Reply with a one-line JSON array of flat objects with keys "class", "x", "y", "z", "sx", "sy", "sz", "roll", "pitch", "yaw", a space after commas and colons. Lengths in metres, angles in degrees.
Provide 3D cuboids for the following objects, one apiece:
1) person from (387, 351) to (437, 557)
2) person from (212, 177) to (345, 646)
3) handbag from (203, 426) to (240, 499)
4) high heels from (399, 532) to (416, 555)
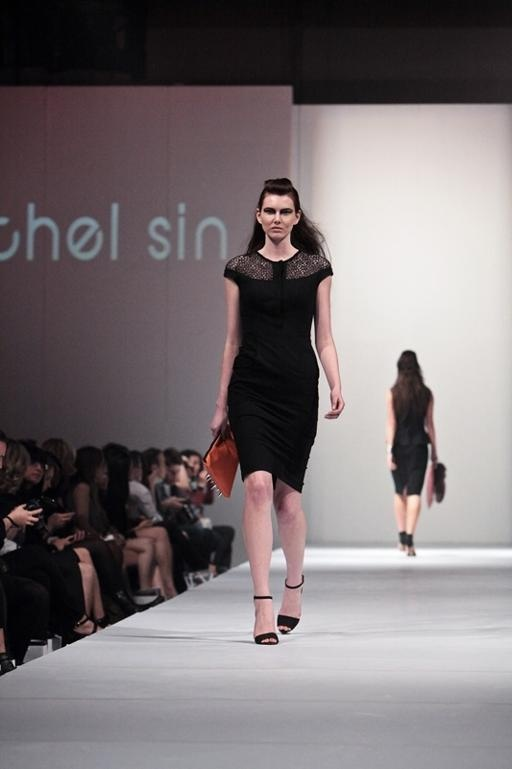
[{"class": "person", "x": 1.127, "y": 0.469, "z": 6.166, "sx": 0.337, "sy": 1.432, "sz": 1.291, "roll": 0, "pitch": 1, "yaw": 12}, {"class": "person", "x": 0.075, "y": 0.050, "z": 2.199, "sx": 0.345, "sy": 1.229, "sz": 0.389, "roll": 0, "pitch": 1, "yaw": -11}, {"class": "handbag", "x": -0.093, "y": 0.220, "z": 2.365, "sx": 0.062, "sy": 0.175, "sz": 0.149, "roll": 4, "pitch": -28, "yaw": 12}, {"class": "high heels", "x": 1.032, "y": 1.094, "z": 5.773, "sx": 0.071, "sy": 0.098, "sz": 0.233, "roll": -3, "pitch": -21, "yaw": 6}]
